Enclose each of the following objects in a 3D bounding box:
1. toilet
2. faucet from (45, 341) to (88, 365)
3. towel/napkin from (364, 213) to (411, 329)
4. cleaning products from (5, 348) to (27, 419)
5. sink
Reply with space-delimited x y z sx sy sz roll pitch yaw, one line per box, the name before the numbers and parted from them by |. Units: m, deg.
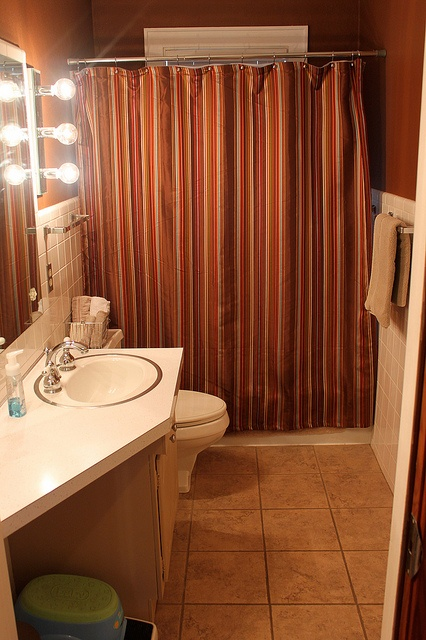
toilet | -0.055 0.666 2.297 0.256 0.526 0.353 -1 12 -2
faucet | -0.507 0.108 1.545 0.136 0.063 0.101 -6 14 -19
towel/napkin | 0.834 -0.242 2.124 0.161 0.494 0.325 2 12 13
cleaning products | -0.598 0.196 1.350 0.066 0.270 0.060 -4 25 -18
sink | -0.403 0.223 1.664 0.412 0.159 0.507 2 20 -5
